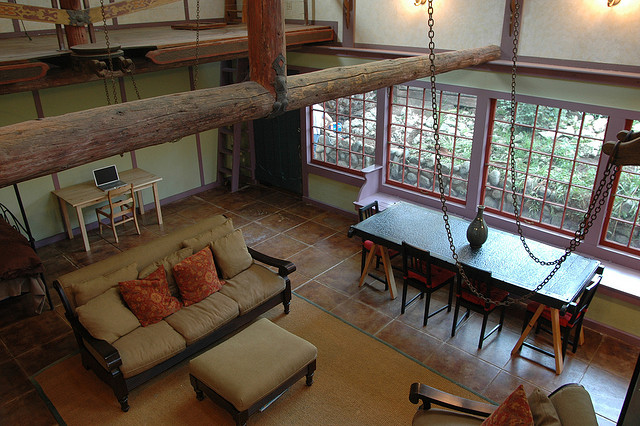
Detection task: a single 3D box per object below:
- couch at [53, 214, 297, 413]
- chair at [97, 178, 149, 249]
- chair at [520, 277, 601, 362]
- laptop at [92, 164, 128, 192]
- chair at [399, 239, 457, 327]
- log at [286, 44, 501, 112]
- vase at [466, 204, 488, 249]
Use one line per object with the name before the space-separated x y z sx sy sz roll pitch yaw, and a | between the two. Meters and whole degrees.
couch | -1.953 1.214 6.000 1.442 1.297 2.858 26 34 34
chair | -4.299 -0.061 8.495 0.756 1.140 0.884 -17 30 -38
chair | 3.229 1.507 5.893 0.873 1.238 0.933 26 -8 -41
laptop | -4.258 -0.717 8.265 0.589 0.401 0.686 26 34 28
chair | 1.640 1.062 6.206 0.798 1.340 0.784 -32 41 -32
log | 0.981 -1.822 5.408 3.528 0.515 0.254 -17 33 -33
vase | 2.324 0.201 5.955 0.329 0.615 0.294 5 28 8
